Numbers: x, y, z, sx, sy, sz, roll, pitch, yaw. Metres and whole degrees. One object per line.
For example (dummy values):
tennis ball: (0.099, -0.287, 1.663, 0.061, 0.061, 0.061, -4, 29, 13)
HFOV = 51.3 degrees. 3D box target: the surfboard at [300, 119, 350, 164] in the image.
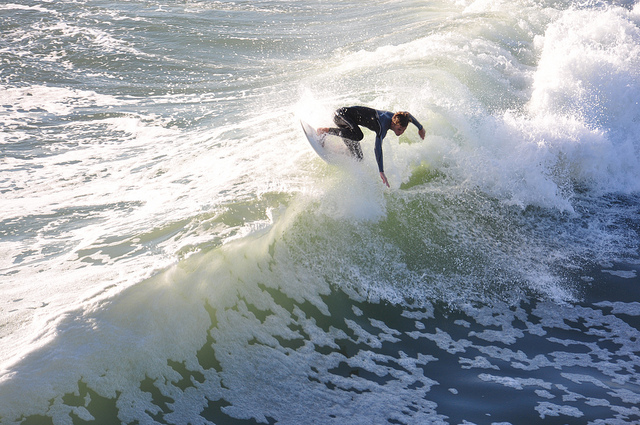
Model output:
surfboard: (0.040, -1.555, 15.368, 0.472, 1.731, 0.233, -58, 5, -6)
